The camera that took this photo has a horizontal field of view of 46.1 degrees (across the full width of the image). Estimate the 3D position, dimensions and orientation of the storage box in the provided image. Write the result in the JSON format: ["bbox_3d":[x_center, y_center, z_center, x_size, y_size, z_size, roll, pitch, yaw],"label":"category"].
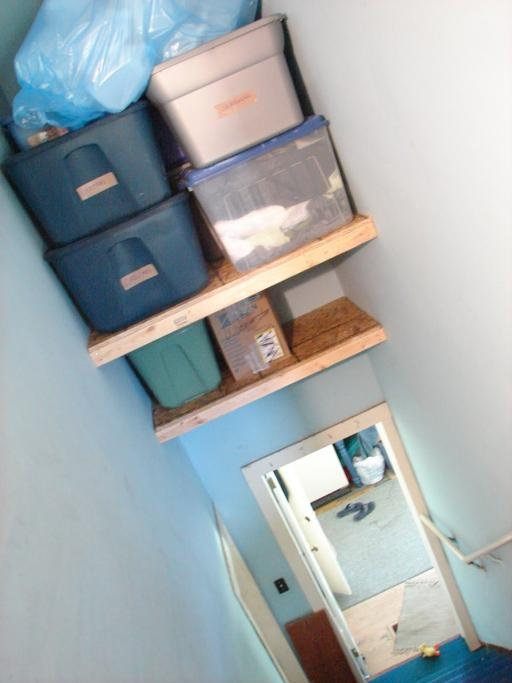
[{"bbox_3d":[-0.304,-0.577,2.575,0.950,1.382,0.795,-22,23,-4],"label":"storage box"}]

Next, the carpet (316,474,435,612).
[{"bbox_3d":[1.070,1.794,5.002,0.619,0.036,1.425,-27,13,10],"label":"carpet"}]
